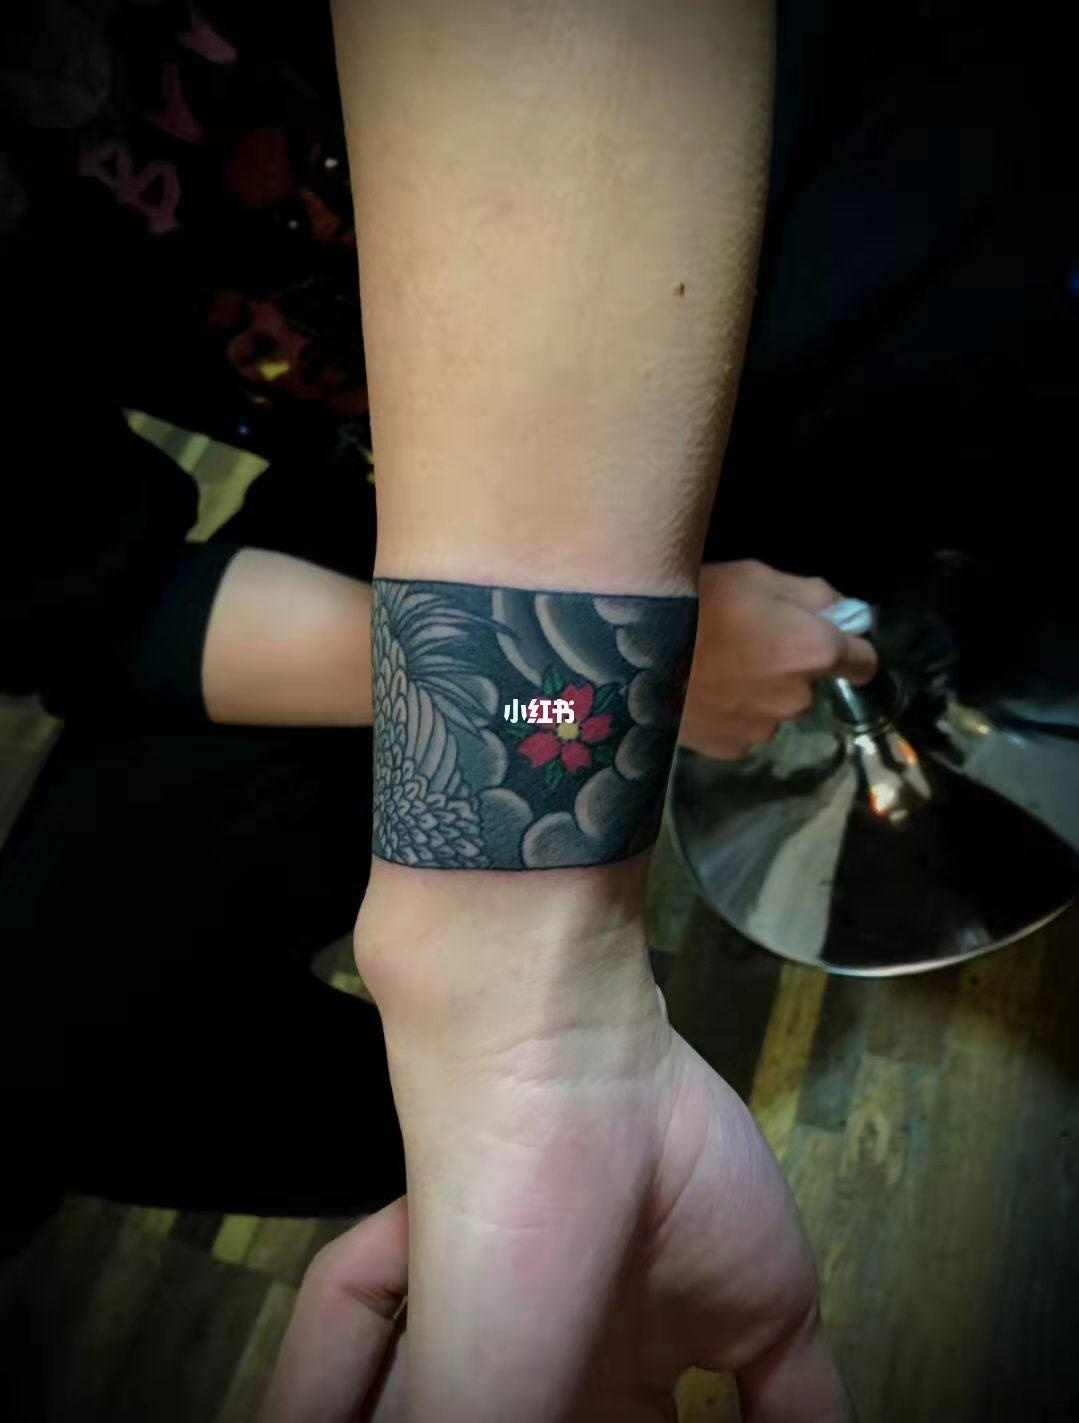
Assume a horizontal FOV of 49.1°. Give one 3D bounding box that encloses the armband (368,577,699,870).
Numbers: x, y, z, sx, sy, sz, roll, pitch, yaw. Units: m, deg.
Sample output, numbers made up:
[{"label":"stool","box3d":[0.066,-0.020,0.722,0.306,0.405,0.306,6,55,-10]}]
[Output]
[{"label":"armband","box3d":[-0.004,0.010,0.593,0.160,0.062,0.147,2,89,0]}]
